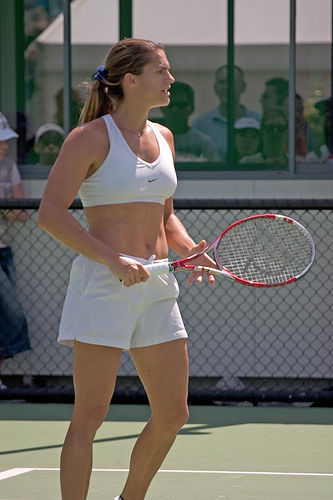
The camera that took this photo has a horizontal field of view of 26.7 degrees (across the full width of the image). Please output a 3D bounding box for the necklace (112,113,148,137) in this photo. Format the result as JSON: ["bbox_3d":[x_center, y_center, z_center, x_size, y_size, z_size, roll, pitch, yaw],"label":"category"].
[{"bbox_3d":[-0.127,-0.433,2.403,0.015,0.070,0.089,-29,-48,36],"label":"necklace"}]

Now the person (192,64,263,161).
[{"bbox_3d":[0.505,-1.078,5.535,0.895,0.730,0.305,1,16,12],"label":"person"}]

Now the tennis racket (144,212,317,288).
[{"bbox_3d":[0.134,0.050,3.033,1.004,0.295,0.075,-9,13,35],"label":"tennis racket"}]
